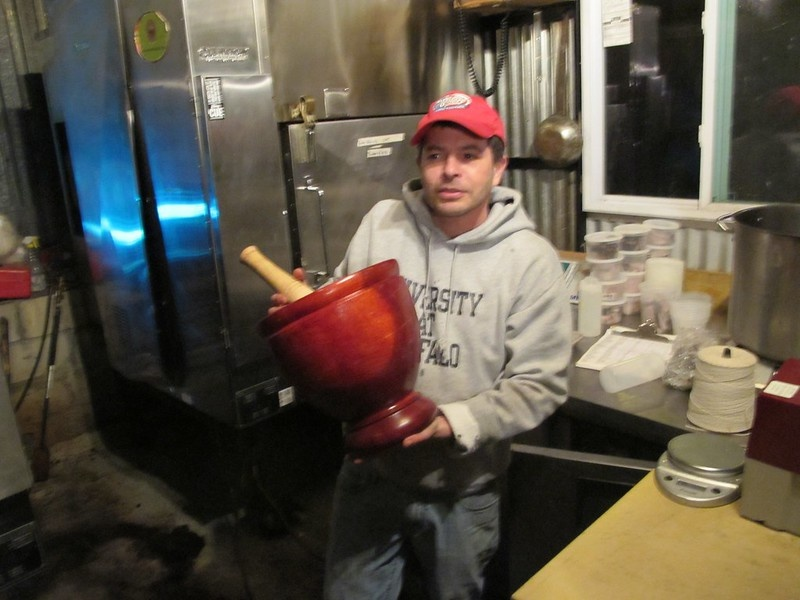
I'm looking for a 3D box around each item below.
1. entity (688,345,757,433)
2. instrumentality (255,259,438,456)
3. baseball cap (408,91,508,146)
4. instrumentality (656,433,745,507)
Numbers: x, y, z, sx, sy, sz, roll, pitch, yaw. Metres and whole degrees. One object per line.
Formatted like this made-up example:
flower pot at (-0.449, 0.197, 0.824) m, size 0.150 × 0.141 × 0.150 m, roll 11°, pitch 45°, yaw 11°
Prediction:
entity at (0.903, 0.254, 1.723) m, size 0.201 × 0.243 × 0.191 m, roll 8°, pitch 20°, yaw 23°
instrumentality at (-0.104, 0.169, 1.545) m, size 0.403 × 0.390 × 0.384 m, roll -22°, pitch -7°, yaw -24°
baseball cap at (0.177, -0.510, 1.705) m, size 0.228 × 0.147 × 0.300 m, roll 1°, pitch 5°, yaw 24°
instrumentality at (0.747, 0.400, 1.519) m, size 0.195 × 0.055 × 0.272 m, roll 10°, pitch 26°, yaw 40°
